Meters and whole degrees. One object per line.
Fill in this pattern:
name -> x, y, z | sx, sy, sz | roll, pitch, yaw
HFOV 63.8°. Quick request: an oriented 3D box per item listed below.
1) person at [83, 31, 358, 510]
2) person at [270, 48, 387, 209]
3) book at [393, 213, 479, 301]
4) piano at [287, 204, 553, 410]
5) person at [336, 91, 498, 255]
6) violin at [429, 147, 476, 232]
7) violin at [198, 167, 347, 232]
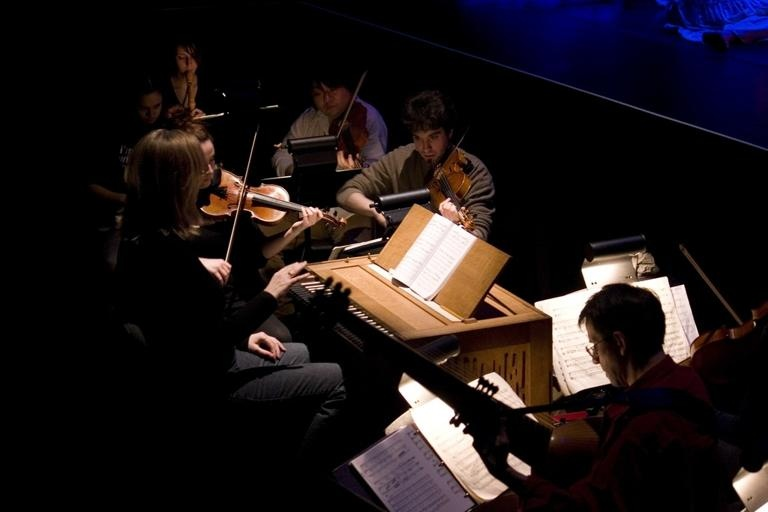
person -> -0.723, 0.263, 2.813 | 1.379, 1.713, 0.612 | 16, 20, -3
person -> -0.282, -0.710, 3.536 | 0.574, 0.255, 0.752 | 0, 53, 14
book -> 0.275, 0.011, 3.103 | 0.337, 0.450, 0.126 | 34, 6, 20
piano -> 0.254, 0.309, 3.310 | 0.748, 0.957, 1.044 | -11, 22, -25
person -> 0.304, -0.494, 3.586 | 0.618, 1.031, 0.318 | -8, 6, 14
violin -> 0.392, -0.448, 3.757 | 0.151, 0.352, 0.641 | 24, 27, -14
violin -> -0.623, -0.274, 3.402 | 0.727, 0.260, 0.117 | 20, -11, -23
